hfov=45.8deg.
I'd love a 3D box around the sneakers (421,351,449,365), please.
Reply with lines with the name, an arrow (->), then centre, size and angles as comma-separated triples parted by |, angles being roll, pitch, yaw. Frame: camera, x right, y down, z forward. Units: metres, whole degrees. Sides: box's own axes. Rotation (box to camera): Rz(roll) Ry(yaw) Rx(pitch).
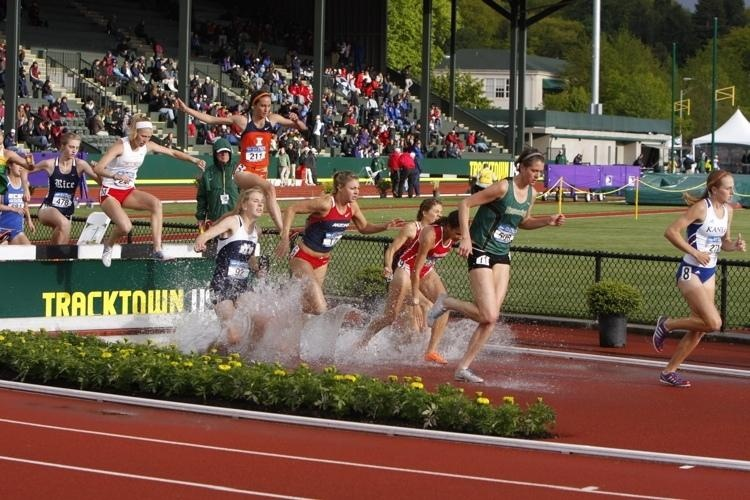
sneakers -> 0.874, 1.527, 12.662 | 0.332, 0.154, 0.161 | 2, 8, 5

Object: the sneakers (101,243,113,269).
sneakers -> -3.896, 0.078, 13.139 | 0.137, 0.367, 0.116 | 0, 1, 20

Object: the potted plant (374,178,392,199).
potted plant -> 0.344, -2.717, 37.384 | 0.810, 1.106, 1.006 | 2, 6, 19

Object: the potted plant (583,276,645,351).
potted plant -> 3.852, 1.012, 14.209 | 0.911, 1.092, 0.908 | 1, -1, 22

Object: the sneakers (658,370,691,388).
sneakers -> 3.864, 1.686, 11.684 | 0.473, 0.243, 0.178 | 0, 6, 15

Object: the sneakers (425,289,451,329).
sneakers -> 0.849, 0.789, 12.088 | 0.146, 0.466, 0.267 | 14, 28, -35

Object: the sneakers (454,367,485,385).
sneakers -> 1.228, 1.650, 11.716 | 0.179, 0.126, 0.297 | -4, 16, -44

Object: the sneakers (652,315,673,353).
sneakers -> 4.177, 1.246, 13.013 | 0.192, 0.623, 0.251 | -12, 29, -30
